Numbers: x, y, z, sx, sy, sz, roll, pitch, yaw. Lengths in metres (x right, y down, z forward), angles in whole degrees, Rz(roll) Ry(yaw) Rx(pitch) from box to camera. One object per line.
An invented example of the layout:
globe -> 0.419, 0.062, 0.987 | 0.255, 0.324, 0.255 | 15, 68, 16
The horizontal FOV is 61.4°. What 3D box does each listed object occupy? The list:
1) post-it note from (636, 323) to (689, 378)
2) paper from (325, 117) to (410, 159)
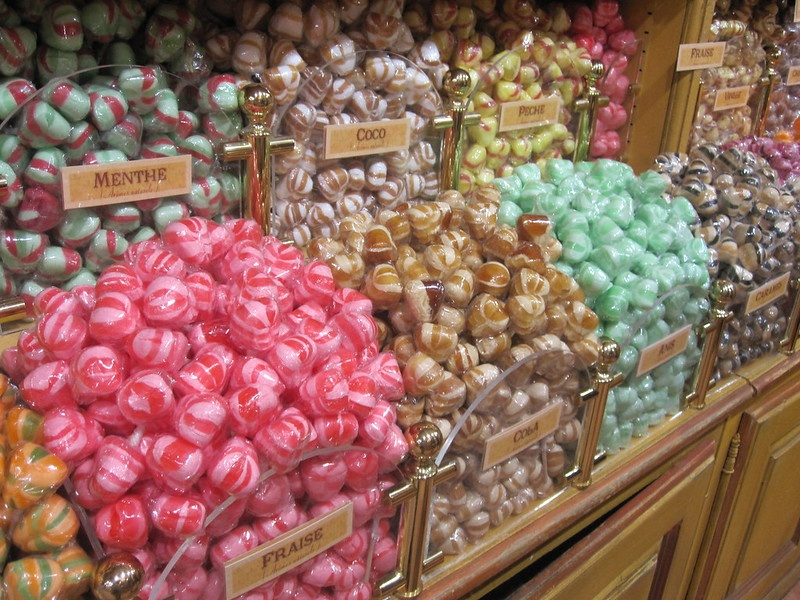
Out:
post-it note -> 0.643, 0.119, 1.663 | 0.131, 0.064, 0.007 | -32, 41, -28
paper -> -0.074, -0.379, 1.586 | 0.240, 0.086, 0.031 | -18, 29, -38
